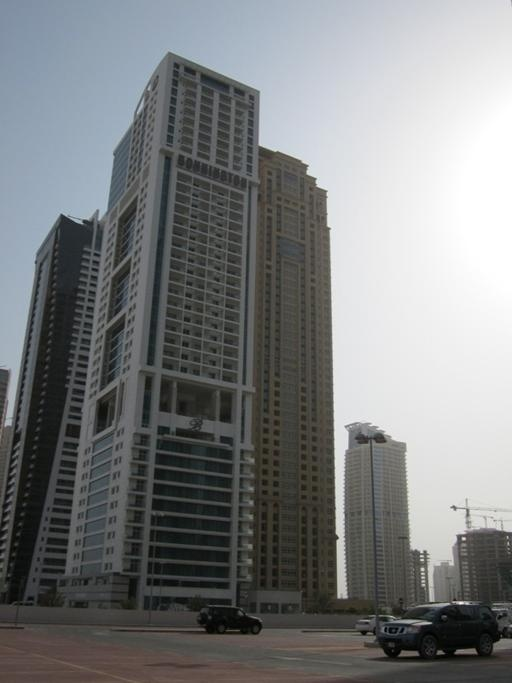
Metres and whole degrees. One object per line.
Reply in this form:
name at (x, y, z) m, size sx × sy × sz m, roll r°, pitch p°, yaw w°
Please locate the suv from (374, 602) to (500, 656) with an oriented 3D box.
suv at (5.744, 8.903, 20.110) m, size 3.497 × 1.591 × 2.032 m, roll 17°, pitch -39°, yaw -23°
